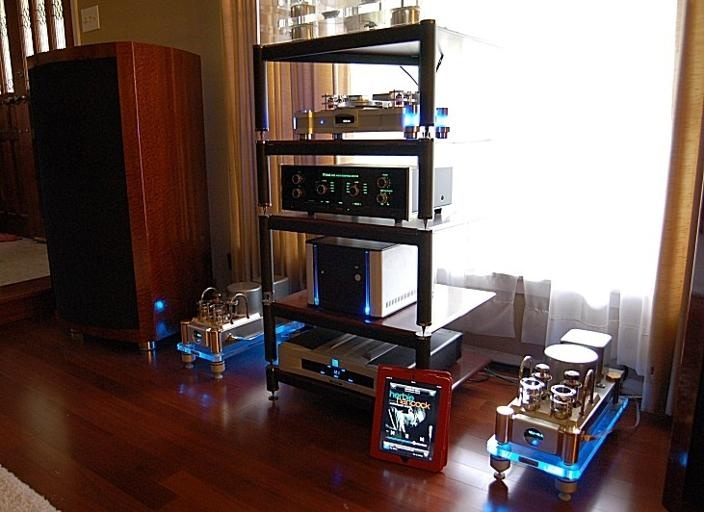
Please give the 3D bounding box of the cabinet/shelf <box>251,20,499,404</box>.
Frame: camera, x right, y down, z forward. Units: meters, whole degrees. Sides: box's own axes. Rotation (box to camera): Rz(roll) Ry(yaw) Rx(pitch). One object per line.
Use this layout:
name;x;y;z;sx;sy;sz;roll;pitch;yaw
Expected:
cabinet/shelf;0.064;-0.146;2.515;1.060;1.667;0.657;7;18;26

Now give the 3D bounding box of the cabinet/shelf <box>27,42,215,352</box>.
cabinet/shelf;-1.351;-0.334;3.162;0.922;1.665;0.551;-1;17;1
